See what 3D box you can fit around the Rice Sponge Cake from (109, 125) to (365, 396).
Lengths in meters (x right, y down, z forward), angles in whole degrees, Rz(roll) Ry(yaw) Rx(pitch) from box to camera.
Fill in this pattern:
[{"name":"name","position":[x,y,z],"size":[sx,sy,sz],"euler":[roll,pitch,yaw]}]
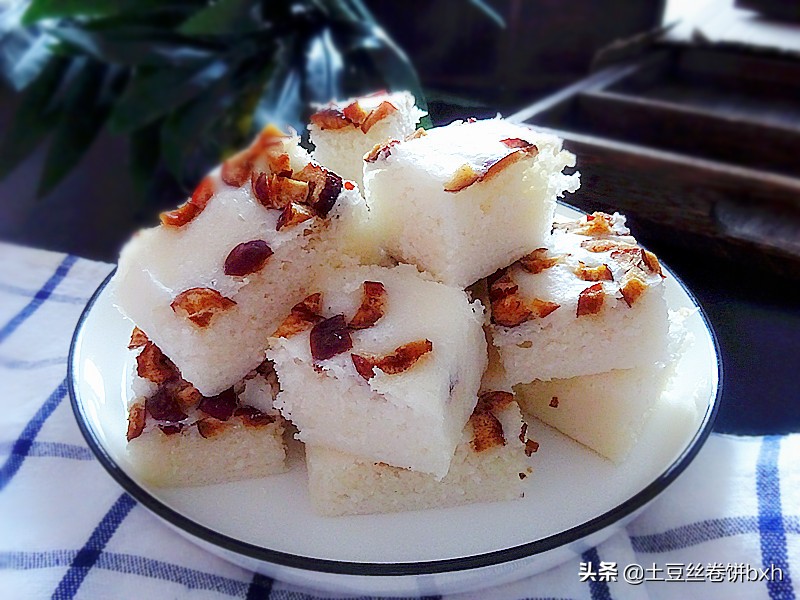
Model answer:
[{"name":"Rice Sponge Cake","position":[-0.211,-0.038,1.056],"size":[0.299,0.123,0.365],"euler":[41,85,9]}]

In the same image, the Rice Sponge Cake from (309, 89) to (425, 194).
[{"name":"Rice Sponge Cake","position":[-0.058,-0.238,1.194],"size":[0.182,0.127,0.135],"euler":[10,25,4]}]

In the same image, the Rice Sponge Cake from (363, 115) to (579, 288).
[{"name":"Rice Sponge Cake","position":[0.070,-0.136,1.084],"size":[0.210,0.134,0.253],"euler":[23,35,34]}]

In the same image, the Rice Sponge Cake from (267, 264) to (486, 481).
[{"name":"Rice Sponge Cake","position":[-0.006,0.082,1.019],"size":[0.282,0.124,0.255],"euler":[19,41,36]}]
